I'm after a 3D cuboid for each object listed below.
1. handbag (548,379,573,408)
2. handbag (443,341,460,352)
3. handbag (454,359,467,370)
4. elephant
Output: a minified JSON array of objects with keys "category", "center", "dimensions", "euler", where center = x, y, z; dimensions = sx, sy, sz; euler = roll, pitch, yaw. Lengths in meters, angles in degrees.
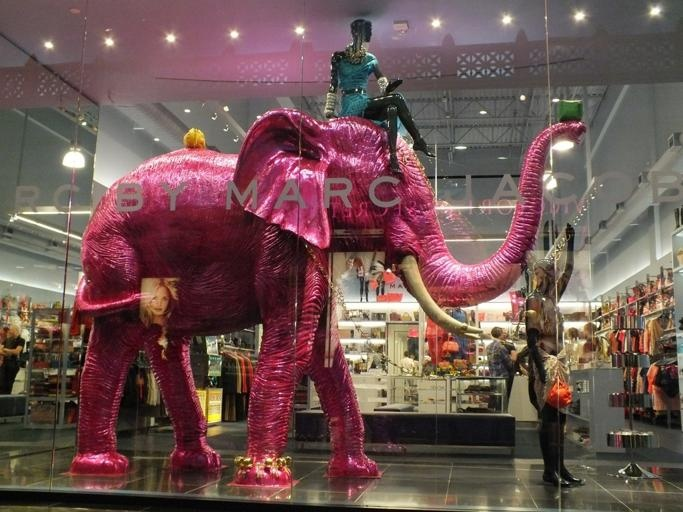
[{"category":"handbag","center":[1.221,0.770,3.147],"dimensions":[0.152,0.176,0.091],"euler":[2,-1,11]},{"category":"handbag","center":[0.619,0.519,3.211],"dimensions":[0.058,0.051,0.021],"euler":[1,-10,-16]},{"category":"handbag","center":[0.675,0.618,3.213],"dimensions":[0.075,0.070,0.045],"euler":[1,1,8]},{"category":"elephant","center":[0.025,0.295,3.357],"dimensions":[2.196,1.624,0.821],"euler":[-1,-15,8]}]
